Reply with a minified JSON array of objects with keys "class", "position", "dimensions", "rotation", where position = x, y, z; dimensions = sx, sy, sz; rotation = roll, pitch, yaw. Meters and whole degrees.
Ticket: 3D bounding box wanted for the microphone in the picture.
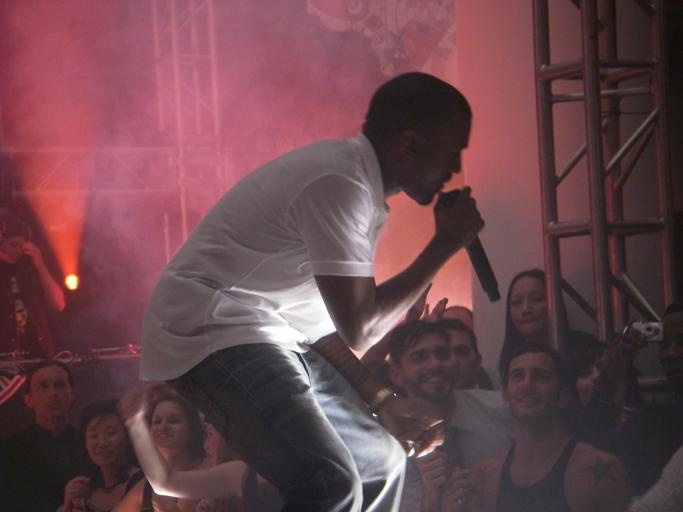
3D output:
[{"class":"microphone","position":[0.555,-0.048,2.989],"dimensions":[0.147,0.535,0.141],"rotation":[-24,5,18]}]
